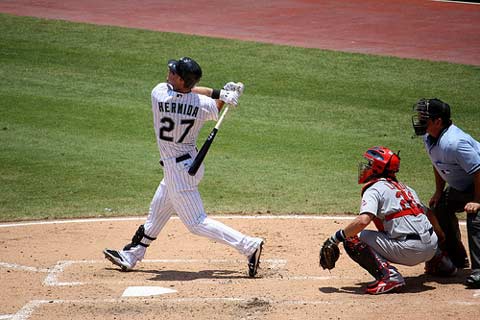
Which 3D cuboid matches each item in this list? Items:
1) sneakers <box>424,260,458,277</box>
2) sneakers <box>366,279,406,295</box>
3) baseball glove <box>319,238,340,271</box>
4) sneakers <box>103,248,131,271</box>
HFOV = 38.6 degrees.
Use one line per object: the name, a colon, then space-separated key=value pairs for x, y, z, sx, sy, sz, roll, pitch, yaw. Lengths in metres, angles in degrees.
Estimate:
sneakers: x=3.475 y=1.904 z=11.905 sx=0.640 sy=0.232 sz=0.219 roll=-1 pitch=1 yaw=8
sneakers: x=2.409 y=2.116 z=11.471 sx=0.707 sy=0.255 sz=0.221 roll=-2 pitch=-8 yaw=-3
baseball glove: x=1.499 y=1.594 z=11.562 sx=0.223 sy=0.471 sz=0.397 roll=5 pitch=11 yaw=-41
sneakers: x=-2.152 y=1.772 z=12.190 sx=0.438 sy=0.140 sz=0.210 roll=35 pitch=34 yaw=8
